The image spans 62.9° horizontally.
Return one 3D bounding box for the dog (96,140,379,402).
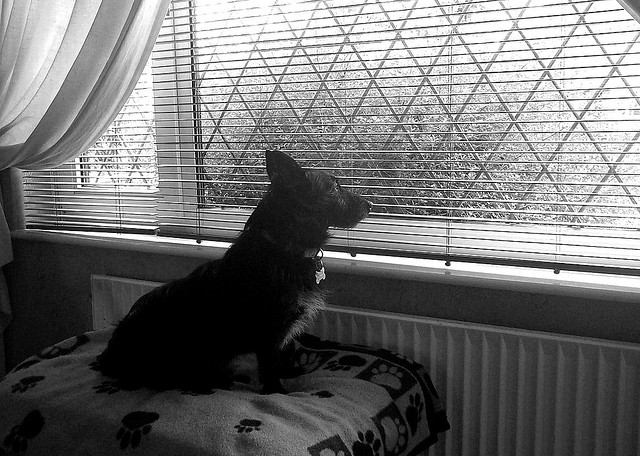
[{"bbox_3d":[-0.247,0.200,1.692,0.901,0.756,0.396,-10,-6,15],"label":"dog"}]
